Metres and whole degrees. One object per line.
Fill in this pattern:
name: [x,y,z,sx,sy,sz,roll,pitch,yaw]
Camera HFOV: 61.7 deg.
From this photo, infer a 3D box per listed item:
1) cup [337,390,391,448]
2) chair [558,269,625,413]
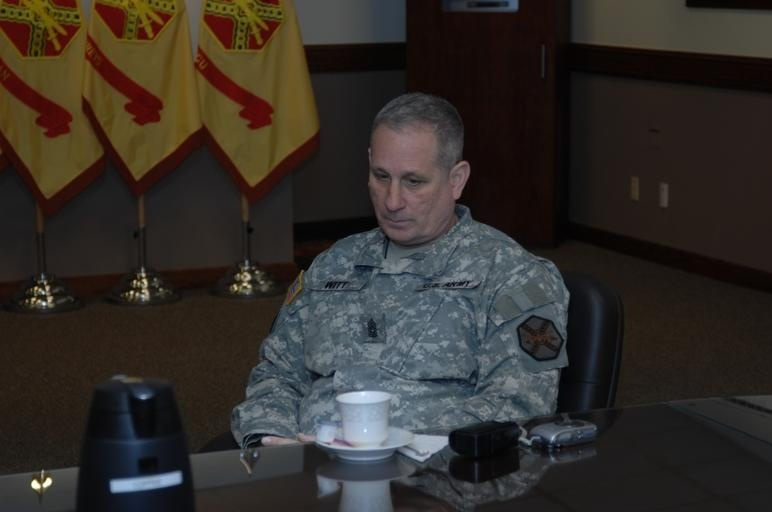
cup: [-0.043,0.277,1.089,0.082,0.071,0.086,-1,-16,0]
chair: [0.468,0.191,1.557,0.200,0.288,0.276,3,3,15]
